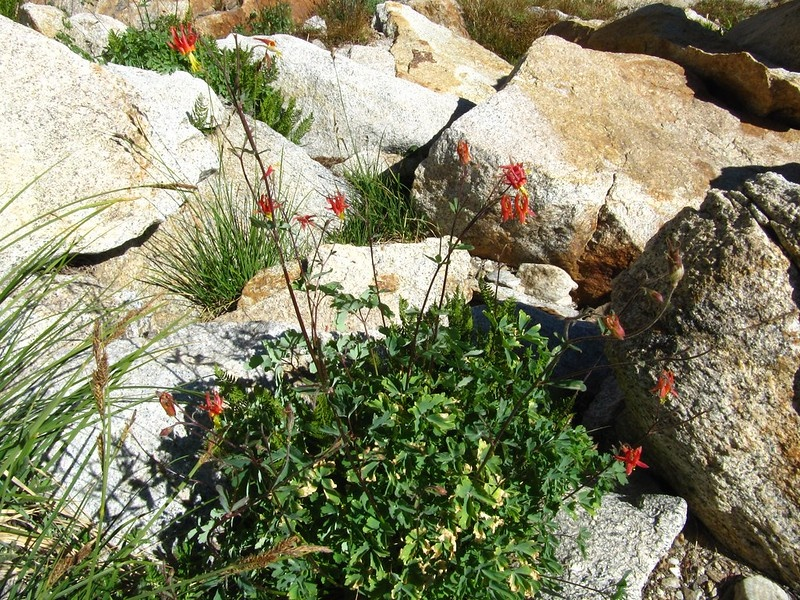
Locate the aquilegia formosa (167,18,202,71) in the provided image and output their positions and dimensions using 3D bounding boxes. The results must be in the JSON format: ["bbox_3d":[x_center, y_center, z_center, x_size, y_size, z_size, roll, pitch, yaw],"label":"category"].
[{"bbox_3d":[-1.137,-1.367,4.579,0.114,0.264,0.136,-4,16,30],"label":"aquilegia formosa"}]

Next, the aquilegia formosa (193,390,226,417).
[{"bbox_3d":[-1.079,0.581,4.828,0.107,0.129,0.118,16,50,8],"label":"aquilegia formosa"}]

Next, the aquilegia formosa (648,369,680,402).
[{"bbox_3d":[1.551,0.484,4.983,0.074,0.097,0.160,-20,13,12],"label":"aquilegia formosa"}]

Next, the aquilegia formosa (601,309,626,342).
[{"bbox_3d":[1.159,0.138,4.538,0.063,0.147,0.183,31,10,-9],"label":"aquilegia formosa"}]

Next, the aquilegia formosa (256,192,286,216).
[{"bbox_3d":[-0.660,-0.493,4.423,0.109,0.150,0.117,4,18,-23],"label":"aquilegia formosa"}]
